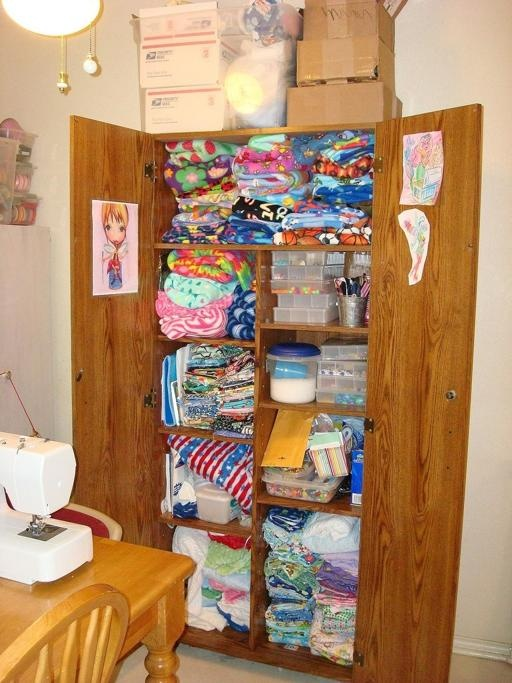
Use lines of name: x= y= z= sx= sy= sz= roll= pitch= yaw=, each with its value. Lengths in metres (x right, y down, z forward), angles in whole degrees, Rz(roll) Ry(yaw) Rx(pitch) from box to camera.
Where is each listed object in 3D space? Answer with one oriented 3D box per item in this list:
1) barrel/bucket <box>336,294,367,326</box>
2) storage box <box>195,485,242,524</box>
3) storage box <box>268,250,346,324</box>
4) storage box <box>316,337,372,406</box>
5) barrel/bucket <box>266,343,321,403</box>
barrel/bucket: x=0.324 y=-0.106 z=2.058 sx=0.111 sy=0.106 sz=0.102 roll=2 pitch=5 yaw=0
storage box: x=-0.161 y=0.667 z=2.509 sx=0.158 sy=0.134 sz=0.153 roll=2 pitch=4 yaw=14
storage box: x=0.192 y=-0.191 z=2.311 sx=0.350 sy=0.314 sz=0.256 roll=4 pitch=9 yaw=27
storage box: x=0.313 y=0.107 z=2.179 sx=0.224 sy=0.130 sz=0.216 roll=3 pitch=14 yaw=16
barrel/bucket: x=0.137 y=0.107 z=2.236 sx=0.229 sy=0.211 sz=0.218 roll=0 pitch=4 yaw=0
